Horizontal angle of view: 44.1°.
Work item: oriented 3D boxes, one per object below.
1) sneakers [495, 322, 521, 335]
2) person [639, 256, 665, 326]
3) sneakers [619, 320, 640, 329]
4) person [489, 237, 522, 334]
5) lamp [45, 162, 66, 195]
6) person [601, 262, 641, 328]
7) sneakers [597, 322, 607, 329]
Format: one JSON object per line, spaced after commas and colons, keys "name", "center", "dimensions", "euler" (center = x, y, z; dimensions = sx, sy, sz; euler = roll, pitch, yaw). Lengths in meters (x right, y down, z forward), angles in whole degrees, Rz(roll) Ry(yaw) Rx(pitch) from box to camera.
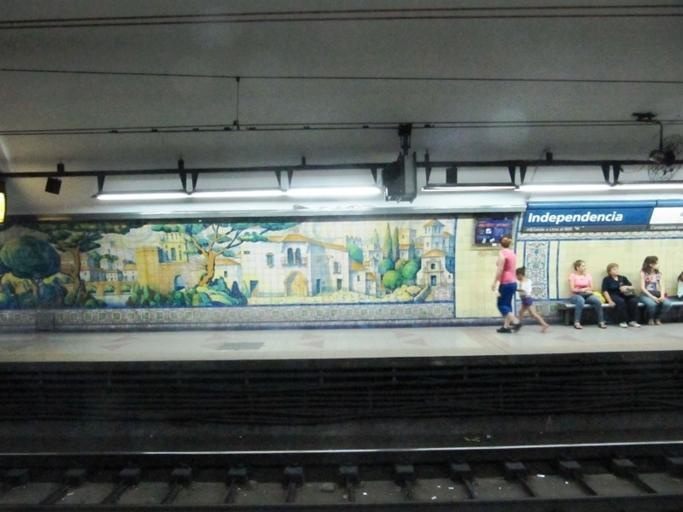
{"name": "sneakers", "center": [3.121, 1.378, 16.113], "dimensions": [0.541, 0.206, 0.176], "euler": [0, -1, -1]}
{"name": "person", "center": [6.179, 0.670, 16.824], "dimensions": [0.459, 1.341, 0.525], "euler": [0, 2, 19]}
{"name": "sneakers", "center": [5.622, 1.341, 16.527], "dimensions": [0.413, 0.164, 0.149], "euler": [-2, -3, 21]}
{"name": "person", "center": [3.117, 0.532, 16.011], "dimensions": [0.518, 1.843, 1.189], "euler": [0, 2, 11]}
{"name": "lamp", "center": [-5.696, -1.564, 16.780], "dimensions": [0.377, 0.630, 0.663], "euler": [-2, 2, -18]}
{"name": "person", "center": [5.532, 0.756, 16.730], "dimensions": [0.577, 1.216, 0.718], "euler": [-3, 3, -44]}
{"name": "sneakers", "center": [5.068, 1.351, 16.482], "dimensions": [0.096, 0.097, 0.254], "euler": [-3, -7, 10]}
